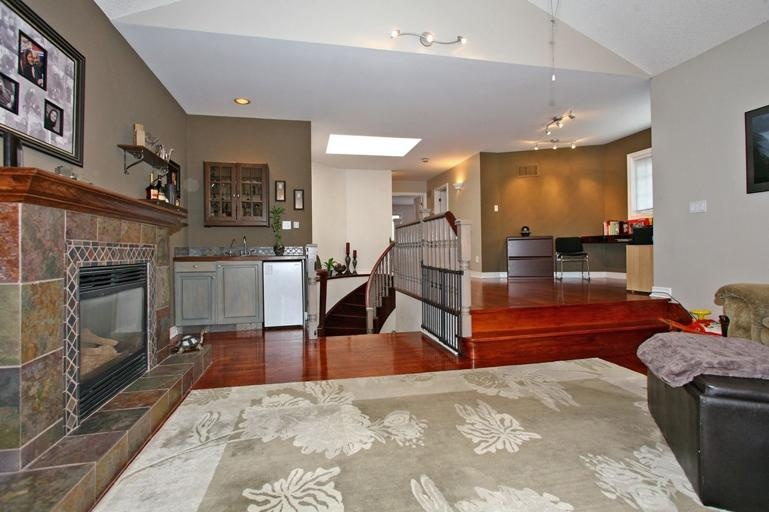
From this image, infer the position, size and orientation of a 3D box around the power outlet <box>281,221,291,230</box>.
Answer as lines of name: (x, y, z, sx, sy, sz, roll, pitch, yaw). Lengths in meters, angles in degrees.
power outlet: (-1.566, -0.482, 7.362, 0.149, 0.136, 0.035, 4, -4, -21)

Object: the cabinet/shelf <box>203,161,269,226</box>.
cabinet/shelf: (-2.262, -0.916, 6.985, 0.999, 0.980, 0.347, 0, 10, 1)

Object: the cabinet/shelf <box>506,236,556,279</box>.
cabinet/shelf: (2.957, 0.055, 9.444, 0.838, 0.779, 0.324, 0, -4, 6)

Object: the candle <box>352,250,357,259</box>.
candle: (-0.698, -0.026, 10.896, 0.086, 0.212, 0.247, 0, 9, 9)

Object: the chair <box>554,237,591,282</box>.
chair: (3.641, 0.038, 9.101, 0.614, 0.857, 0.670, -3, 2, -6)

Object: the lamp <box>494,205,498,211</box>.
lamp: (2.379, -1.010, 9.955, 0.106, 0.128, 0.028, -4, 10, -16)

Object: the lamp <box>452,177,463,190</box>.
lamp: (1.679, -1.658, 10.766, 0.244, 0.198, 0.209, 2, -3, -2)

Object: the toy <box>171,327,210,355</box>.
toy: (-2.175, 0.991, 5.223, 0.398, 0.137, 0.396, -1, 7, -14)

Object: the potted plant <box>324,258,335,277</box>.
potted plant: (-1.174, 0.272, 10.054, 0.340, 0.401, 0.315, -1, 5, -19)

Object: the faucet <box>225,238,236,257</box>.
faucet: (-2.350, -0.144, 7.114, 0.120, 0.229, 0.148, 2, 10, 18)

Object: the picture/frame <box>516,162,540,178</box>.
picture/frame: (2.988, -1.768, 9.745, 0.436, 0.239, 0.300, 1, 8, 14)

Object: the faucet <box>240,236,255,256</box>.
faucet: (-2.106, -0.142, 7.123, 0.294, 0.372, 0.194, 0, -8, -10)

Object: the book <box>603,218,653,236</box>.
book: (4.569, -0.553, 8.950, 0.469, 0.407, 1.323, -1, 9, 1)

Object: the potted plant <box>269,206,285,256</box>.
potted plant: (-1.638, -0.379, 7.181, 0.219, 0.742, 0.513, -3, 10, -13)

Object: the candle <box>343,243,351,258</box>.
candle: (-0.853, -0.146, 10.840, 0.146, 0.326, 0.247, -2, 9, -6)

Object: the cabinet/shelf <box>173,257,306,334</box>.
cabinet/shelf: (-2.064, 0.484, 6.797, 1.774, 1.101, 0.548, 0, 15, -11)
